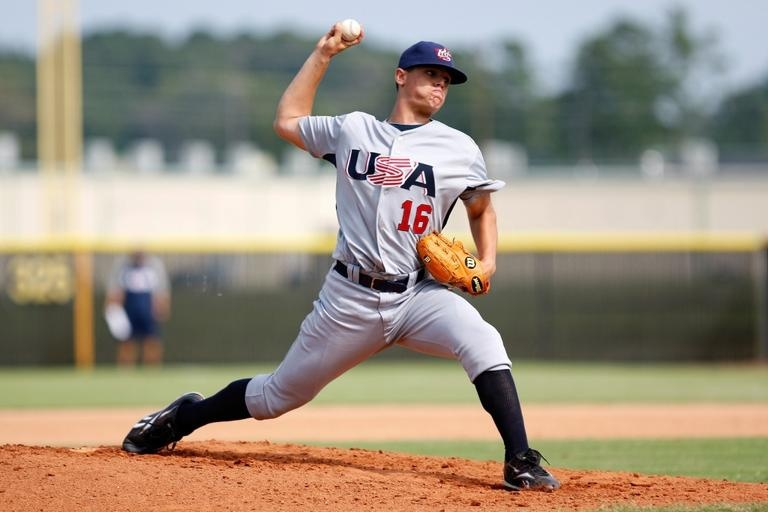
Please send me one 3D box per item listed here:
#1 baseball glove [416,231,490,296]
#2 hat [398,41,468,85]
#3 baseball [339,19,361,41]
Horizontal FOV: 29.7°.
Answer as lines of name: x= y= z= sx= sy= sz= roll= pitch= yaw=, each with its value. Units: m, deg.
baseball glove: x=0.745 y=0.079 z=15.102 sx=0.318 sy=0.757 sz=0.555 roll=-34 pitch=17 yaw=54
hat: x=0.499 y=-2.012 z=15.228 sx=0.557 sy=0.293 sz=0.420 roll=6 pitch=7 yaw=27
baseball: x=-0.368 y=-2.351 z=15.244 sx=0.206 sy=0.206 sz=0.201 roll=-10 pitch=-37 yaw=-20
